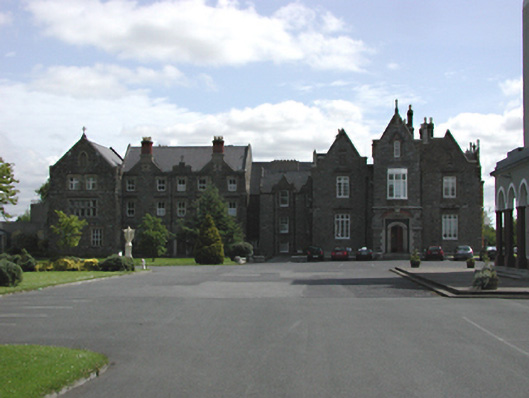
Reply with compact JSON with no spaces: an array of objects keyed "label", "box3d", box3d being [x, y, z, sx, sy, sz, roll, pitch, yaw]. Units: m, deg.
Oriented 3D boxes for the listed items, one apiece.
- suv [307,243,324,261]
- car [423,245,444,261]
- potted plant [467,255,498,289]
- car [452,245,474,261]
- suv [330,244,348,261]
[{"label":"suv","box3d":[5.262,5.643,62.811,1.504,1.469,4.864,-2,-6,6]},{"label":"car","box3d":[16.325,5.229,59.112,1.254,0.968,2.797,-1,-1,15]},{"label":"potted plant","box3d":[9.788,3.452,27.542,1.609,1.693,1.495,2,-1,-43]},{"label":"car","box3d":[18.979,5.182,58.747,1.952,1.329,1.489,-6,-7,37]},{"label":"suv","box3d":[7.546,5.518,62.323,1.216,0.961,2.843,0,2,10]}]
